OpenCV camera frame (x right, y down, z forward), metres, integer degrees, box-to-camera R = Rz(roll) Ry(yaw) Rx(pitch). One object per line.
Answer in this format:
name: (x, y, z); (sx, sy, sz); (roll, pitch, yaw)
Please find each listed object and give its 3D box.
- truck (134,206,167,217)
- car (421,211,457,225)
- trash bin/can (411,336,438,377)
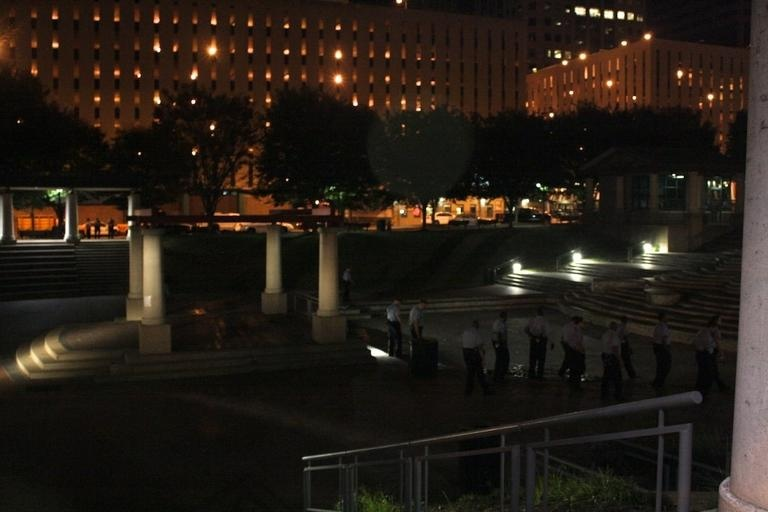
truck: (-13.486, -2.482, 52.499); (1.338, 0.496, 5.885); (-1, 3, -11)
car: (7.333, -4.516, 118.780); (4.570, 1.614, 2.235); (-1, 3, 24)
trash bin/can: (2.239, 5.358, 48.921); (1.409, 1.624, 1.443); (0, 6, 9)
